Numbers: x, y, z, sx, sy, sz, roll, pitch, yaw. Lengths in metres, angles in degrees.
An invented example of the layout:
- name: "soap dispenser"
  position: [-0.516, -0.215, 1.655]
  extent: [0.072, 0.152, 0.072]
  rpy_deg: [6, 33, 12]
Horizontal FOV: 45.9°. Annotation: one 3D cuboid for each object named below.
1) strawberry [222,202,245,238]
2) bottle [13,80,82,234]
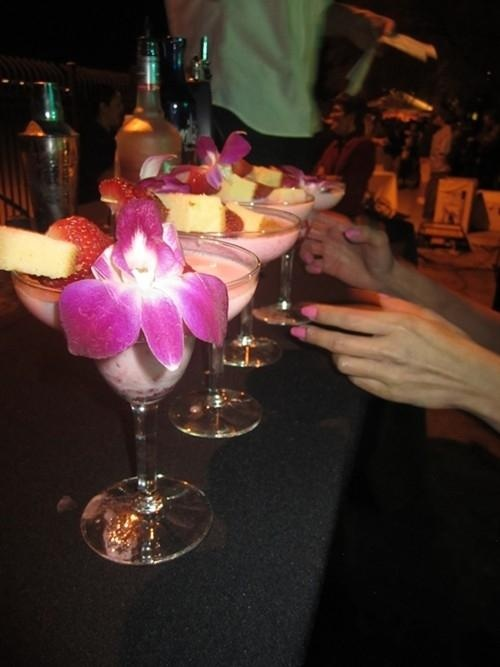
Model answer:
- name: "strawberry"
  position: [-0.023, -0.157, 0.807]
  extent: [0.038, 0.044, 0.011]
  rpy_deg: [5, -10, -35]
- name: "bottle"
  position: [-0.320, -0.272, 0.959]
  extent: [0.088, 0.251, 0.080]
  rpy_deg: [5, 36, -3]
